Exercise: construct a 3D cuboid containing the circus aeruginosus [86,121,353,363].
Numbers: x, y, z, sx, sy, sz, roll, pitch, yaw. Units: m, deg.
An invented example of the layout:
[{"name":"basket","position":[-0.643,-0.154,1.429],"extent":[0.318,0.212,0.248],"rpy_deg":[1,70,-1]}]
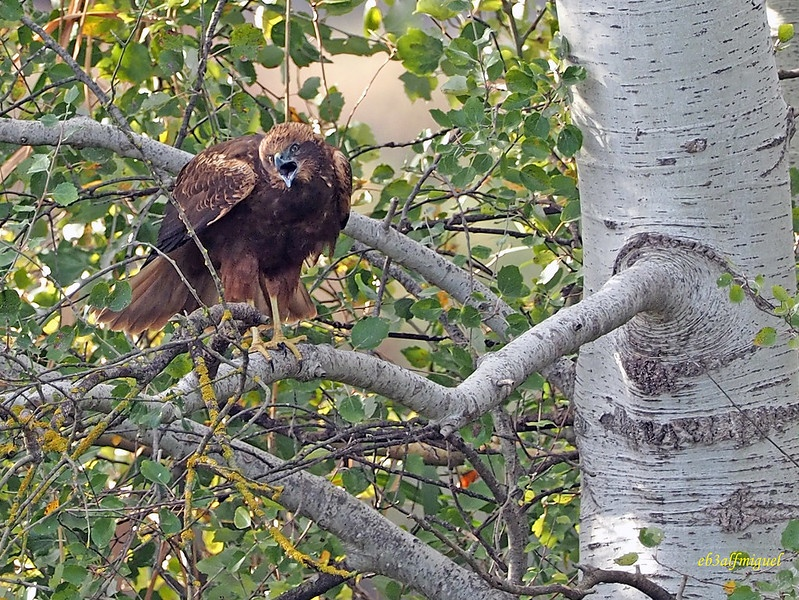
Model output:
[{"name":"circus aeruginosus","position":[-0.525,-0.273,5.566],"extent":[0.775,1.113,0.886],"rpy_deg":[-5,-75,-36]}]
